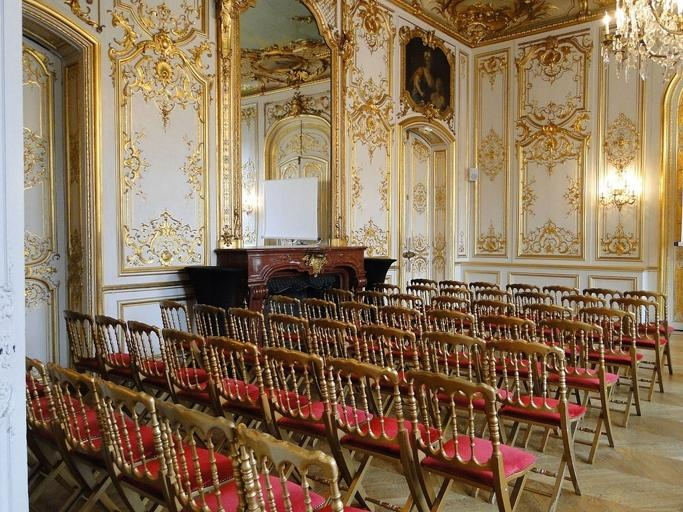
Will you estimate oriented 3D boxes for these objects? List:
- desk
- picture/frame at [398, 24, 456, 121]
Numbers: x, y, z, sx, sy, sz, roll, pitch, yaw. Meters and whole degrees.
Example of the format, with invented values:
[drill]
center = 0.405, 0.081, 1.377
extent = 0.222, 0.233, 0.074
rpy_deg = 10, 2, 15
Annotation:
[desk]
center = -0.498, 0.368, 6.828
extent = 2.493, 1.058, 0.708
rpy_deg = -5, 11, -43
[picture/frame]
center = 1.334, -2.978, 9.078
extent = 0.099, 1.763, 1.581
rpy_deg = -1, -2, 35
